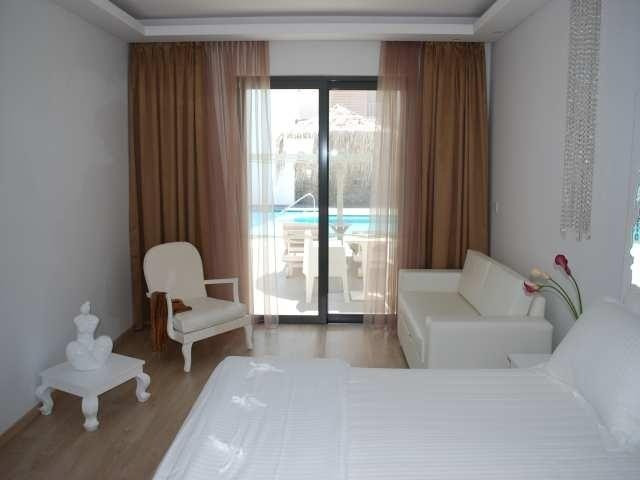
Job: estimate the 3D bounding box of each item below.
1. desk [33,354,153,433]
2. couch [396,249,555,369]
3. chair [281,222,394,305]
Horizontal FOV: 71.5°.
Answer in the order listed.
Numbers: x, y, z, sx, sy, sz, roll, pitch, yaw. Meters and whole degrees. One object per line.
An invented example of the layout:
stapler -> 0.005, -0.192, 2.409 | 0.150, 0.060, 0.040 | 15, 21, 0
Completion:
desk -> -1.684, 1.007, 3.336 | 0.516, 0.309, 0.547 | 4, 9, 23
couch -> 1.228, 0.147, 3.692 | 0.802, 0.954, 1.603 | 0, 5, 2
chair -> 0.207, 0.096, 5.315 | 0.890, 0.645, 0.946 | 0, 14, 0
